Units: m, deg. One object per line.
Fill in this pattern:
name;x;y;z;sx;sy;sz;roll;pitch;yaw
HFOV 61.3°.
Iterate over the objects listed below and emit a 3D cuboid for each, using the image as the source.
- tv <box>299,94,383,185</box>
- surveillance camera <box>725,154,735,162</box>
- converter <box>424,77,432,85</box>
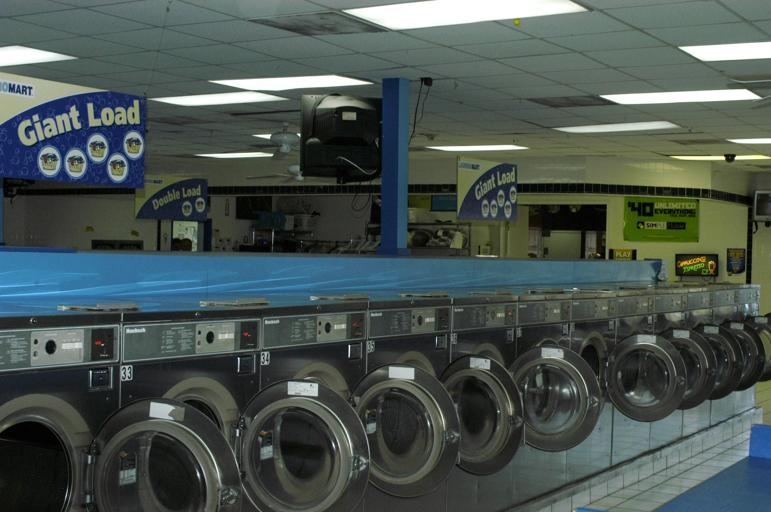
tv;-0.574;-1.552;8.467;1.348;1.296;0.720;1;10;-9
surveillance camera;7.499;-2.146;14.162;0.194;0.139;0.200;-1;0;37
converter;0.598;-2.459;9.132;0.059;0.100;0.117;2;4;30
